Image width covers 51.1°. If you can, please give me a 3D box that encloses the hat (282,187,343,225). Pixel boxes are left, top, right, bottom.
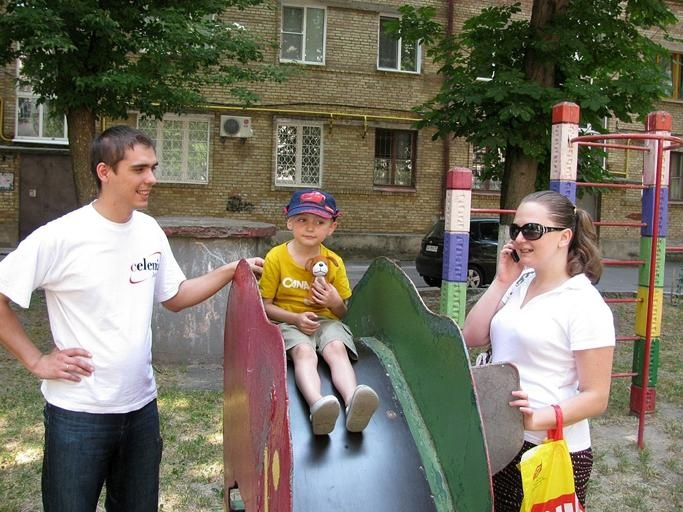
[{"bbox_3d":[-0.189,-0.339,4.586,0.321,0.222,0.425,4,-2,7],"label":"hat"}]

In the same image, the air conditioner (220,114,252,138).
[{"bbox_3d":[-2.617,-3.203,17.628,0.777,0.595,0.477,-1,3,-13],"label":"air conditioner"}]

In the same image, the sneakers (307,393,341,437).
[{"bbox_3d":[-0.093,0.839,3.821,0.152,0.243,0.194,0,4,-4],"label":"sneakers"}]

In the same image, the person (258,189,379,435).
[{"bbox_3d":[-0.127,0.283,4.251,0.540,1.156,1.412,-1,19,-14],"label":"person"}]

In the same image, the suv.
[{"bbox_3d":[2.211,-0.084,13.584,1.794,1.060,1.032,-4,5,-17],"label":"suv"}]

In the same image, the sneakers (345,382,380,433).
[{"bbox_3d":[0.101,0.808,3.858,0.135,0.283,0.116,11,26,-14],"label":"sneakers"}]
